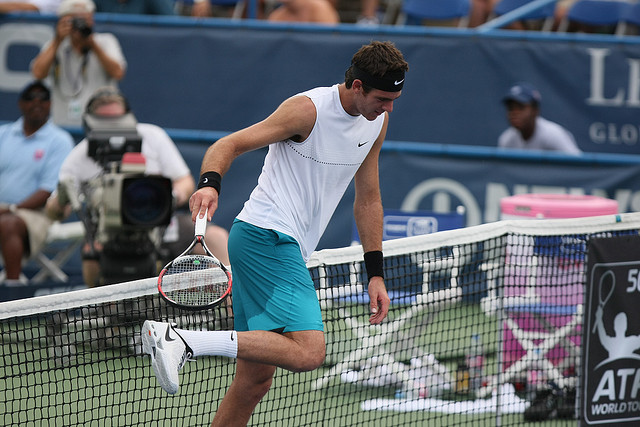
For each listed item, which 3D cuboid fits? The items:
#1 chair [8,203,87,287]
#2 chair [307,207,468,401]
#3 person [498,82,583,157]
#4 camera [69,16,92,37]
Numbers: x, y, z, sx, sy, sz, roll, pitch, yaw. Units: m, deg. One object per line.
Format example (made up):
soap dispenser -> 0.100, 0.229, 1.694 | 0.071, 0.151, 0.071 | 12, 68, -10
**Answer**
chair -> -2.881, 0.293, 12.342 | 0.716, 1.001, 1.299 | 2, -3, 0
chair -> 0.575, 0.789, 11.049 | 1.573, 2.246, 1.643 | 0, -1, 9
person -> 2.409, -1.034, 12.679 | 0.581, 0.913, 0.686 | -21, 11, -33
camera -> -2.527, -1.994, 12.394 | 0.213, 0.123, 0.164 | 33, -9, 22
